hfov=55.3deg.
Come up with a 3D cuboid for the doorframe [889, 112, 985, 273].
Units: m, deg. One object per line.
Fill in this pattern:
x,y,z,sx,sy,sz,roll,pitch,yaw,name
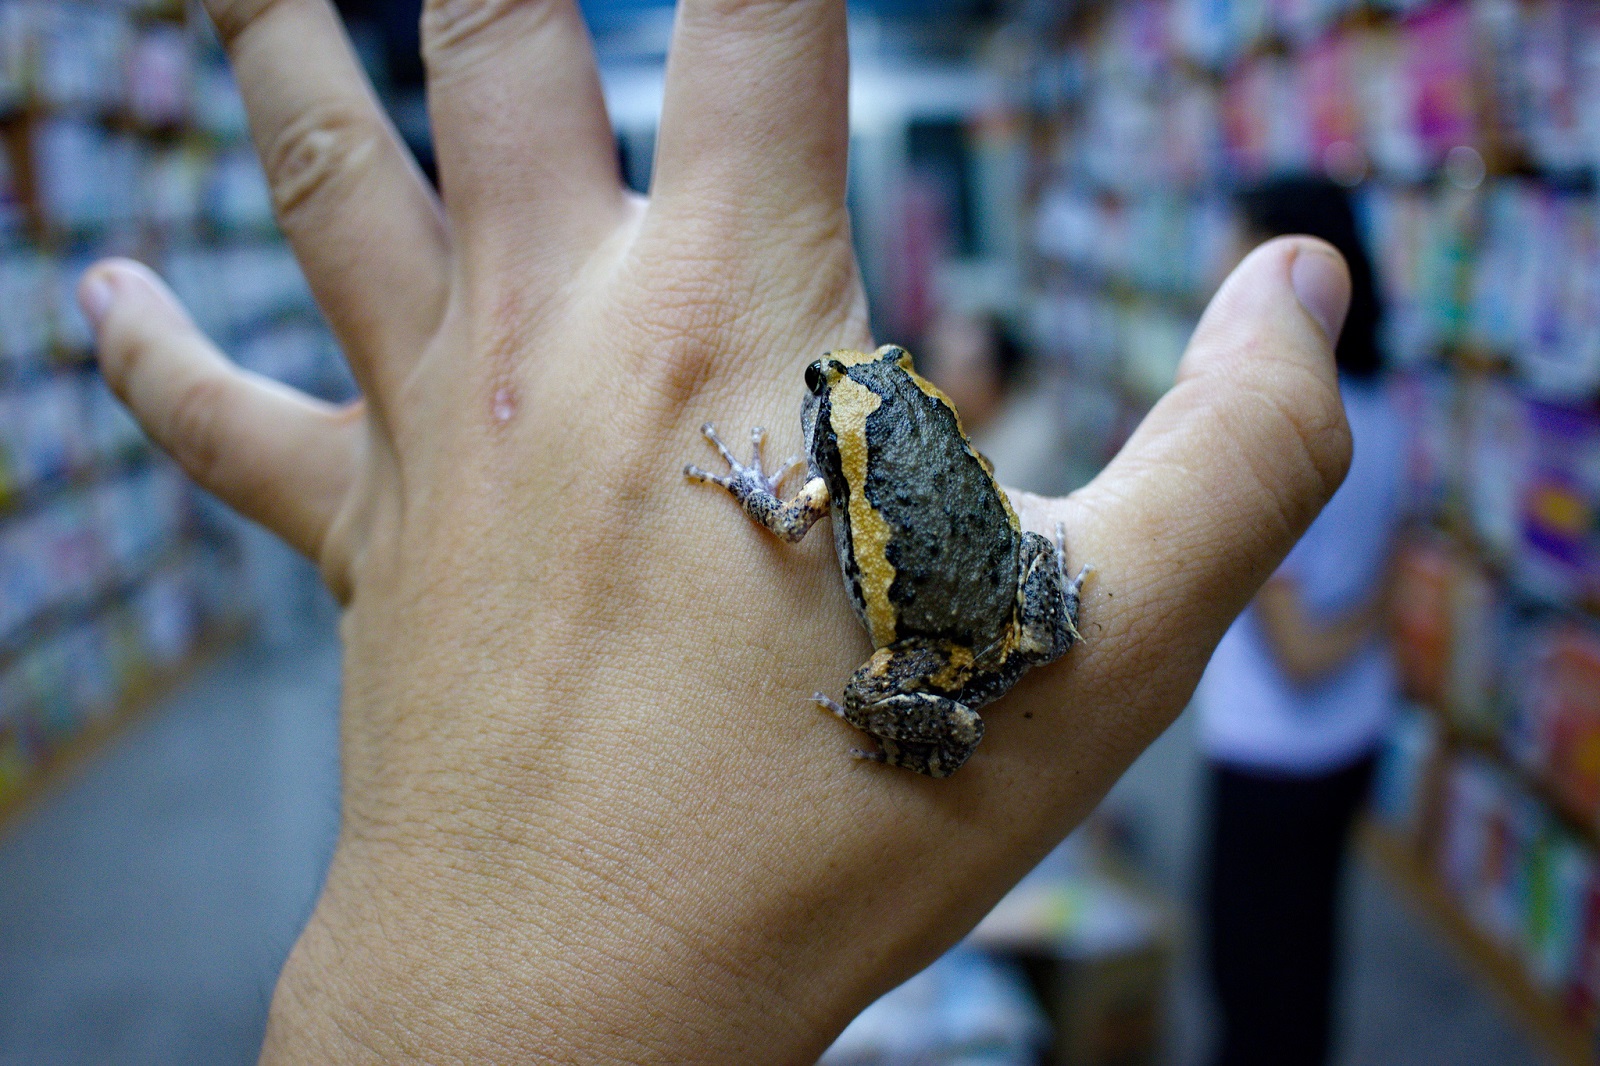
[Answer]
0.615,-1.640,6.784,0.305,0.681,0.130,-4,35,-4,doorframe
